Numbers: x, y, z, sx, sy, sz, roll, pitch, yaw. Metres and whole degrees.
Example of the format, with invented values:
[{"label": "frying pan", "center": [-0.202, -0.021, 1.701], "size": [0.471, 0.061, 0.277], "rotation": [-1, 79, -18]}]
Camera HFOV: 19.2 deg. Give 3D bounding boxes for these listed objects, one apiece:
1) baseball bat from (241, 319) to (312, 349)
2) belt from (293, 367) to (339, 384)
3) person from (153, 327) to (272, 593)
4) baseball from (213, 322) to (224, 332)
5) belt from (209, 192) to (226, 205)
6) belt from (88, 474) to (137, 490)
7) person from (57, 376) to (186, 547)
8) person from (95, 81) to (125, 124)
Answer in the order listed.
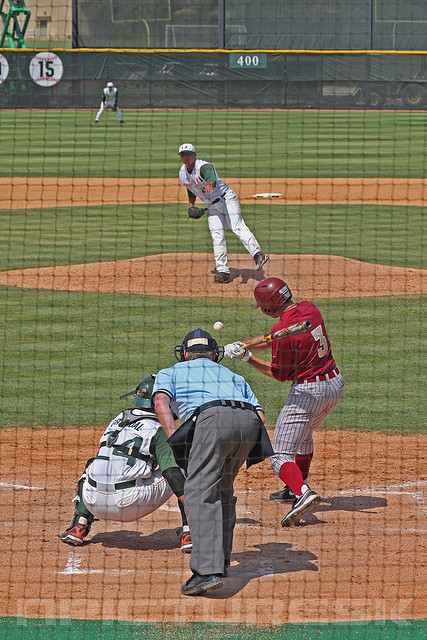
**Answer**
[{"label": "baseball bat", "center": [0.491, 0.117, 9.787], "size": [0.829, 0.110, 0.104], "rotation": [-18, -9, 33]}, {"label": "belt", "center": [0.737, 0.407, 8.980], "size": [0.333, 0.097, 0.209], "rotation": [0, 4, -1]}, {"label": "person", "center": [-0.015, 0.935, 8.202], "size": [0.613, 1.677, 0.693], "rotation": [4, 7, 41]}, {"label": "baseball", "center": [0.068, 0.065, 10.539], "size": [0.089, 0.082, 0.086], "rotation": [-16, 8, -31]}, {"label": "belt", "center": [0.067, -1.405, 14.573], "size": [0.101, 0.075, 0.101], "rotation": [-41, 4, -3]}, {"label": "belt", "center": [-0.685, 1.112, 8.562], "size": [0.323, 0.078, 0.061], "rotation": [0, 5, -1]}, {"label": "person", "center": [-0.547, 1.057, 8.768], "size": [1.012, 1.218, 0.787], "rotation": [5, 3, -3]}, {"label": "person", "center": [-2.274, -4.774, 27.657], "size": [0.640, 0.923, 0.556], "rotation": [1, 20, 0]}]
